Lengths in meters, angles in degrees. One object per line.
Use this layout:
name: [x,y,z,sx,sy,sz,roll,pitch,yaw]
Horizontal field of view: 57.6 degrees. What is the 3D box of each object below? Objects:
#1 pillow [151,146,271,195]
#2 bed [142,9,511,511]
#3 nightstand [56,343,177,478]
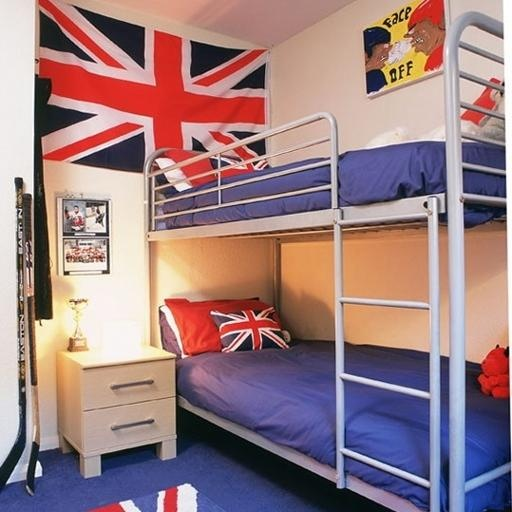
pillow: [-0.340,-0.702,3.434,0.661,0.141,0.410,-12,42,-30]
bed: [0.227,0.096,2.085,0.562,1.599,1.704,0,-1,-25]
nightstand: [-0.808,0.856,2.837,0.613,0.621,0.624,1,-4,-37]
